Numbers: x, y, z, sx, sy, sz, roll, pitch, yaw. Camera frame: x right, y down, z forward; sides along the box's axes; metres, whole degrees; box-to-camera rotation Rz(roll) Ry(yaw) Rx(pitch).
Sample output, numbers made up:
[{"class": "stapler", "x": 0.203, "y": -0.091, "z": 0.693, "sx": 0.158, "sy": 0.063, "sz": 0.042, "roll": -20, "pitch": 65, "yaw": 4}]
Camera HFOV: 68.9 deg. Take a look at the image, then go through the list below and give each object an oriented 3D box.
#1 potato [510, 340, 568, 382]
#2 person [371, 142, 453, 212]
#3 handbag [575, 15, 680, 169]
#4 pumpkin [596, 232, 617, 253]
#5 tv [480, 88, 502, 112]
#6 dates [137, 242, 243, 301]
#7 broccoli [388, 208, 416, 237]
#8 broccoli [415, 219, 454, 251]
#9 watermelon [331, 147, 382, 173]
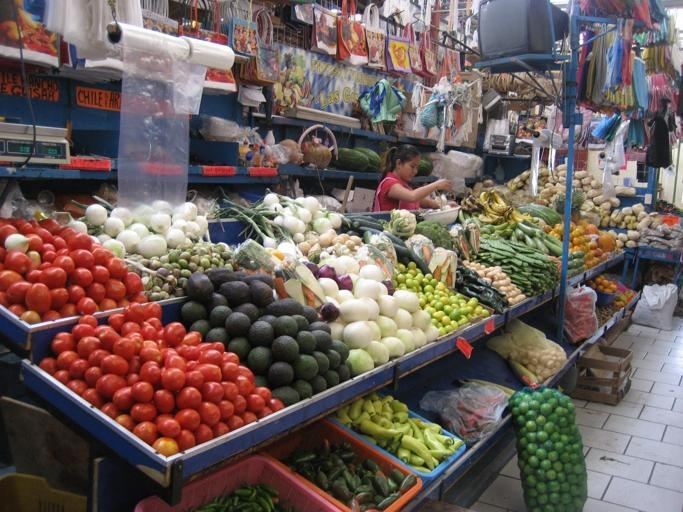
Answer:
[{"class": "potato", "x": 1.616, "y": 0.878, "z": 4.073, "sx": 0.315, "sy": 0.143, "sz": 0.300, "roll": -24, "pitch": 46, "yaw": -14}, {"class": "person", "x": 0.708, "y": -0.767, "z": 5.112, "sx": 0.597, "sy": 0.823, "sz": 0.674, "roll": 12, "pitch": 19, "yaw": 36}, {"class": "handbag", "x": 3.130, "y": -2.040, "z": 5.943, "sx": 0.700, "sy": 1.974, "sz": 1.166, "roll": 15, "pitch": 21, "yaw": 42}, {"class": "pumpkin", "x": 3.387, "y": -0.160, "z": 6.380, "sx": 0.210, "sy": 0.285, "sz": 0.210, "roll": -21, "pitch": 13, "yaw": -36}, {"class": "tv", "x": 2.489, "y": -2.617, "z": 8.333, "sx": 0.276, "sy": 0.271, "sz": 0.486, "roll": 45, "pitch": 11, "yaw": 0}, {"class": "dates", "x": -0.803, "y": 0.011, "z": 2.604, "sx": 0.441, "sy": 0.275, "sz": 0.492, "roll": -1, "pitch": 15, "yaw": -22}, {"class": "broccoli", "x": 0.476, "y": -0.275, "z": 4.046, "sx": 0.209, "sy": 0.245, "sz": 0.201, "roll": 4, "pitch": 18, "yaw": -3}, {"class": "broccoli", "x": 0.786, "y": -0.159, "z": 4.179, "sx": 0.265, "sy": 0.120, "sz": 0.210, "roll": 36, "pitch": 14, "yaw": 13}, {"class": "watermelon", "x": 0.221, "y": -1.214, "z": 6.225, "sx": 0.556, "sy": 0.288, "sz": 0.285, "roll": 3, "pitch": -8, "yaw": 4}]
